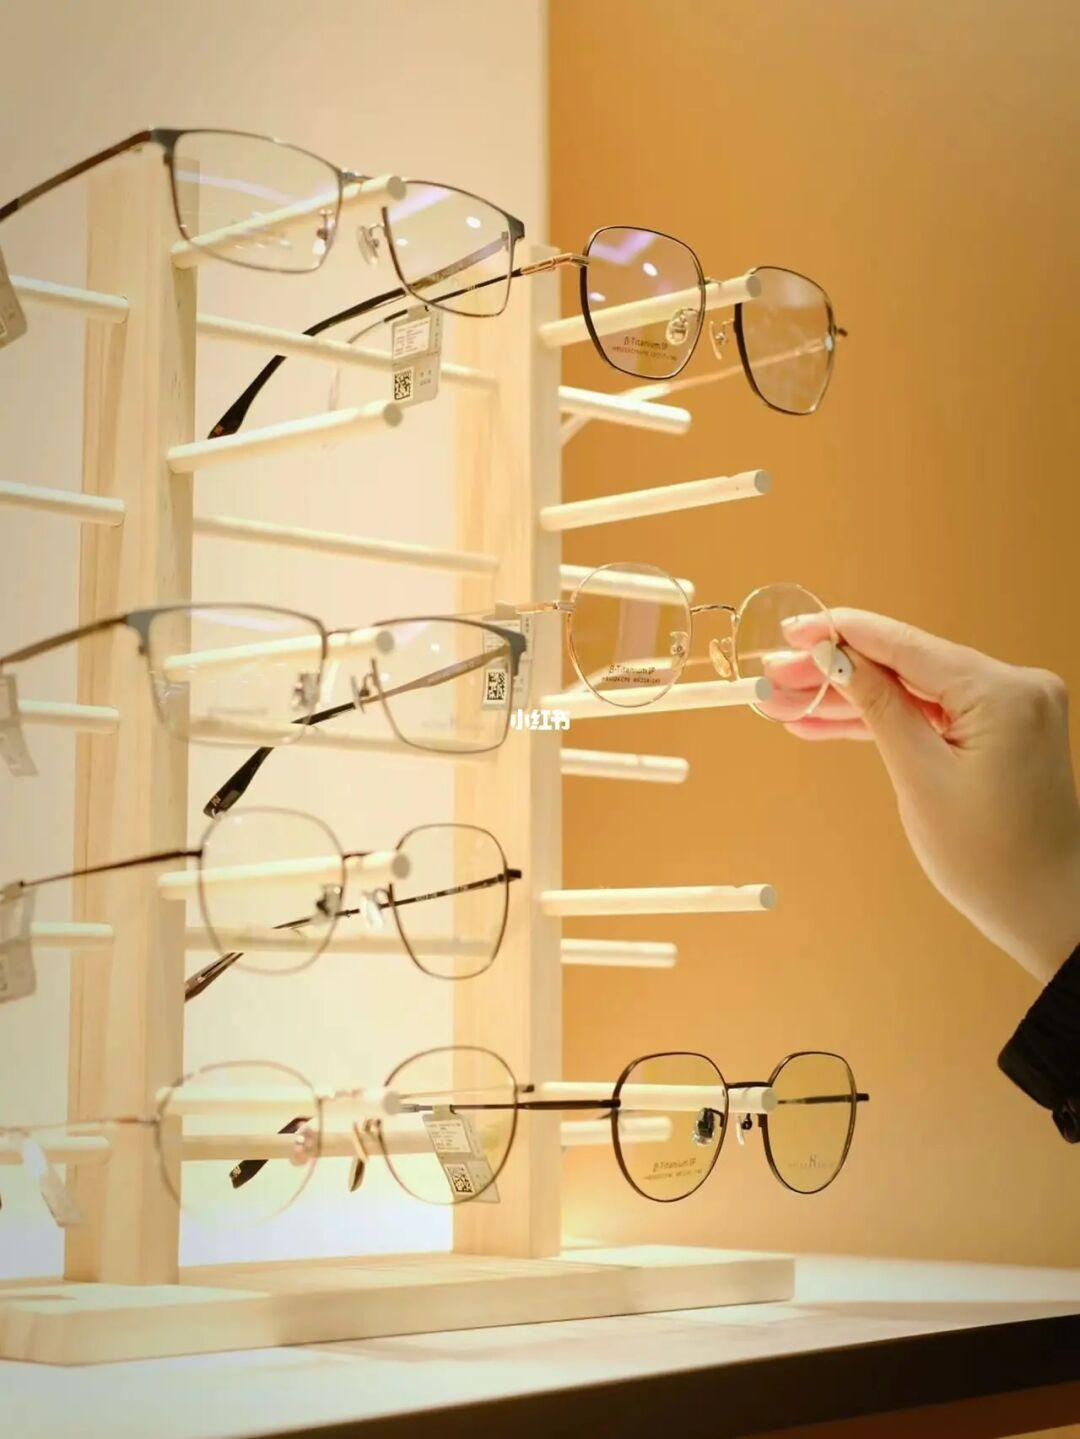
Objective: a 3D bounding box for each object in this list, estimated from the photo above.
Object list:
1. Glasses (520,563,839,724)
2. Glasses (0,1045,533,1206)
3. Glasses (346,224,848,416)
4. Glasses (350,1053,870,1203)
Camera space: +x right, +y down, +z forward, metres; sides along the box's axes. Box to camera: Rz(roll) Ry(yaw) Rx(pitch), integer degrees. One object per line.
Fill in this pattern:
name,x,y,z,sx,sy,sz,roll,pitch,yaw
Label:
Glasses,0.097,-0.026,0.900,0.135,0.043,0.136,4,-10,-38
Glasses,-0.127,0.231,0.808,0.176,0.048,0.179,-12,-14,42
Glasses,0.032,-0.262,1.053,0.292,0.100,0.303,0,0,37
Glasses,0.046,0.253,0.903,0.185,0.054,0.187,-10,-13,41
